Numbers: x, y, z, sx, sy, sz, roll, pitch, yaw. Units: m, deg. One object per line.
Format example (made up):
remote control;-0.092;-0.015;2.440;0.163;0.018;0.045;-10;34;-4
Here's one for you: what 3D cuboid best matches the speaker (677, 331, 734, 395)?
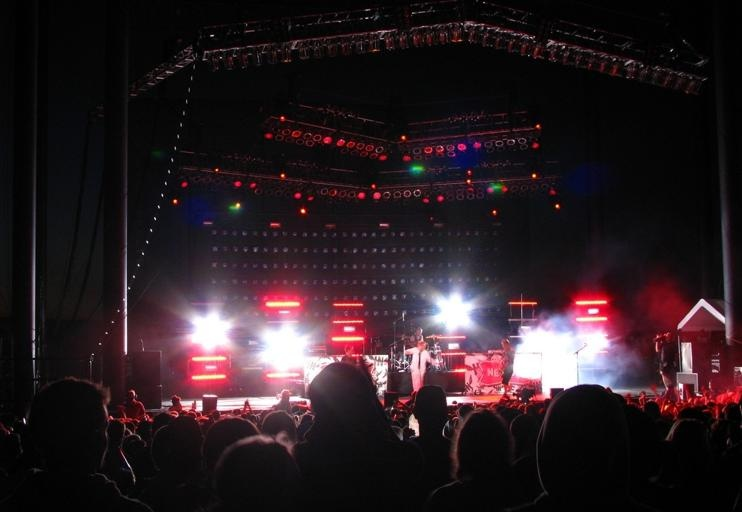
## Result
speaker;8.310;2.656;17.073;1.203;2.133;1.233;-6;-25;28
